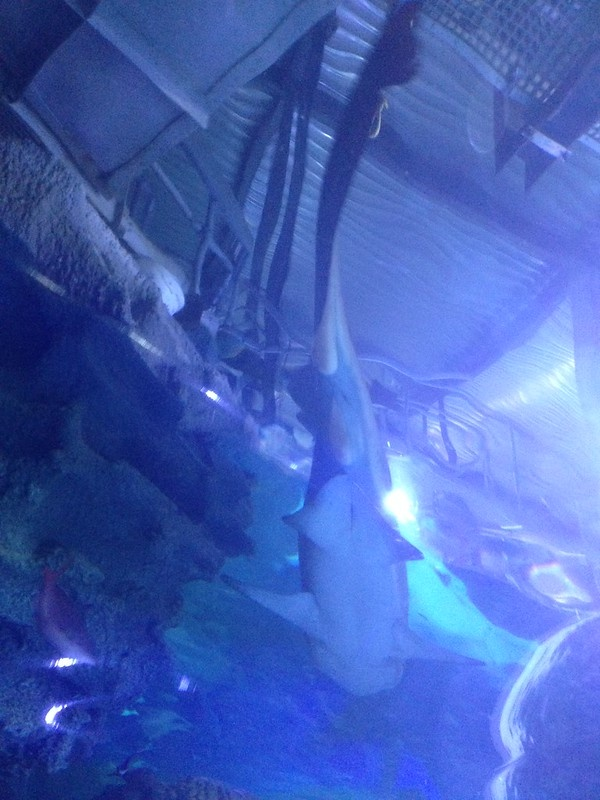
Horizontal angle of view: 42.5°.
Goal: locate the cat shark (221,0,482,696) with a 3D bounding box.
[{"bbox_3d":[0.045,-0.005,0.477,0.138,0.420,0.066,-16,26,-22],"label":"cat shark"}]
